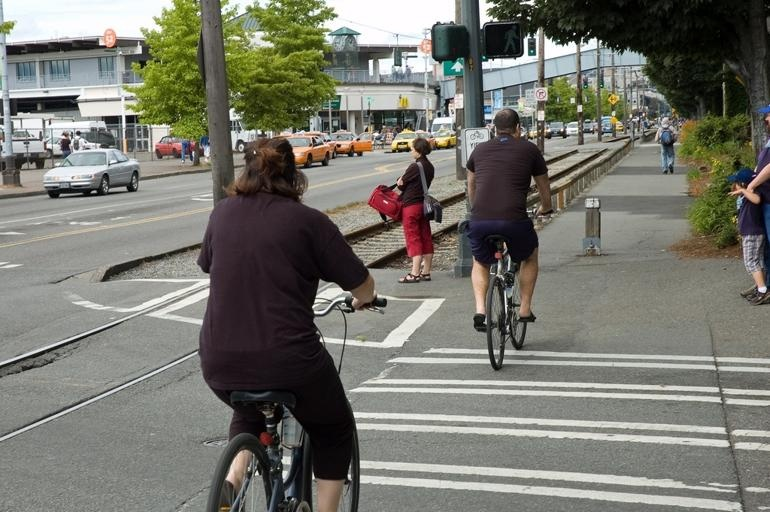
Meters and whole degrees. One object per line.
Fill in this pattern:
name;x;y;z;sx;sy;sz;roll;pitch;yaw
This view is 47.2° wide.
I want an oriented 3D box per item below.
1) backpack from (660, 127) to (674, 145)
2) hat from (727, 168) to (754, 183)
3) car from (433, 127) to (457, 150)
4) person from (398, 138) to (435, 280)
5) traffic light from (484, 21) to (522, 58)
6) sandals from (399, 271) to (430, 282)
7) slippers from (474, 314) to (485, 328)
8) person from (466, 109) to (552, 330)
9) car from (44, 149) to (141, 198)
backpack;10.090;-4.278;31.648;0.428;0.658;0.625;-1;1;9
hat;4.638;-0.999;11.582;0.328;0.136;0.236;-2;22;25
car;4.582;-8.991;67.472;1.202;0.971;2.767;-2;2;12
person;0.482;-0.719;13.914;0.560;2.277;0.960;-1;11;2
traffic light;1.792;-3.297;13.462;0.615;0.544;0.345;-1;11;4
sandals;0.471;0.319;13.745;0.459;0.197;0.181;1;4;-1
slippers;0.975;0.683;9.073;0.116;0.192;0.160;-1;11;2
person;1.221;-0.339;9.383;0.722;2.368;1.252;7;14;39
car;-10.230;-2.861;30.783;1.750;1.606;3.255;2;12;15
